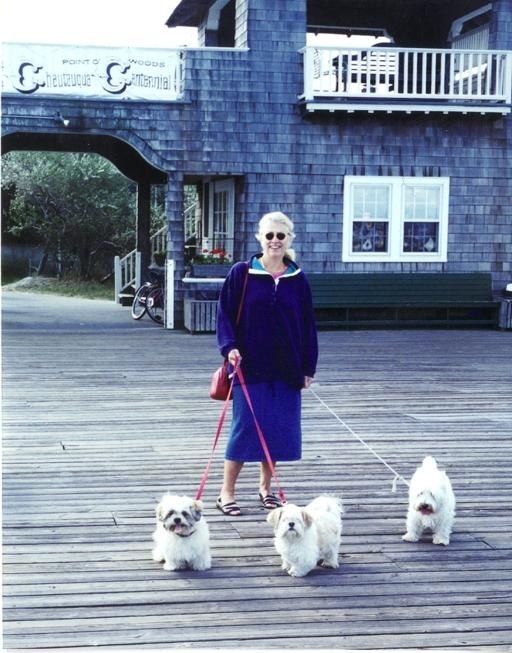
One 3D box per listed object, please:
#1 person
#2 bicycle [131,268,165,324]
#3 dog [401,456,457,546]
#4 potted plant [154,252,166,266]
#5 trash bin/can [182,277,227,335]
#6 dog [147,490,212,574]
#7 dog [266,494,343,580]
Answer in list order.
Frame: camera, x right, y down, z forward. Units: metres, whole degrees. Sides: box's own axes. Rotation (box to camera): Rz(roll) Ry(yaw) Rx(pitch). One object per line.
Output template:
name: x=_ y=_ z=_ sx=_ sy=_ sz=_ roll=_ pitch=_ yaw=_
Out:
person: x=0.065 y=0.234 z=8.524 sx=0.600 sy=1.820 sz=0.376 roll=1 pitch=9 yaw=-4
bicycle: x=-1.474 y=-0.372 z=19.393 sx=0.415 sy=0.843 sz=1.694 roll=1 pitch=10 yaw=-5
dog: x=1.003 y=1.032 z=8.120 sx=0.283 sy=0.480 sz=0.226 roll=-4 pitch=10 yaw=-30
potted plant: x=-1.403 y=-0.965 z=20.824 sx=0.173 sy=0.156 sz=0.181 roll=0 pitch=4 yaw=-2
trash bin/can: x=-0.643 y=-0.255 z=17.351 sx=0.637 sy=0.568 sz=0.657 roll=0 pitch=8 yaw=1
dog: x=-0.399 y=1.139 z=7.742 sx=0.328 sy=0.443 sz=0.322 roll=1 pitch=9 yaw=-3
dog: x=0.283 y=1.166 z=7.806 sx=0.286 sy=0.417 sz=0.547 roll=8 pitch=11 yaw=35
